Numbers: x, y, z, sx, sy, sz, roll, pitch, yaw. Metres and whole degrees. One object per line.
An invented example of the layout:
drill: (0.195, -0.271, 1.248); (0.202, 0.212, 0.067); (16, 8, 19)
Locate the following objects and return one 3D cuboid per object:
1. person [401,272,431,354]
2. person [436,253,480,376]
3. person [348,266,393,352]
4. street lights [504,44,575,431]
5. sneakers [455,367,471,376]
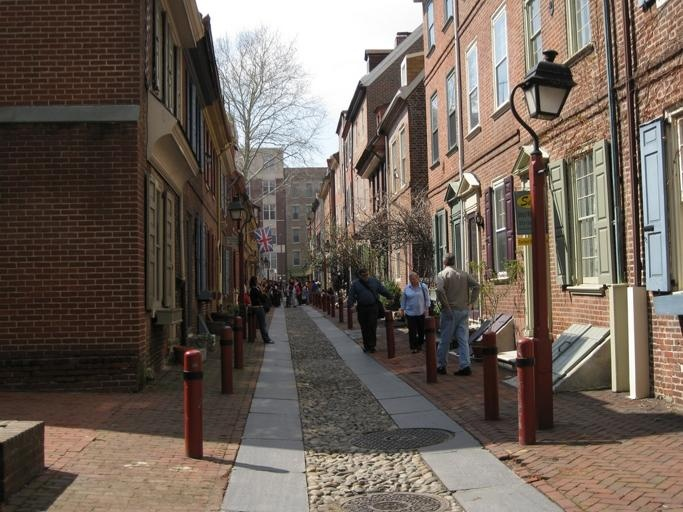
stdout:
person: (1.655, 1.225, 15.085); (0.563, 1.769, 1.218); (0, 0, 8)
person: (2.053, 1.010, 12.031); (0.724, 2.112, 0.820); (0, 0, 19)
person: (0.655, 1.221, 15.869); (0.893, 1.871, 1.558); (0, 0, 4)
street lights: (2.381, -0.246, 8.000); (0.646, 4.511, 0.801); (0, 0, 18)
sneakers: (2.100, 1.971, 11.691); (0.295, 0.168, 0.117); (1, 3, 32)
